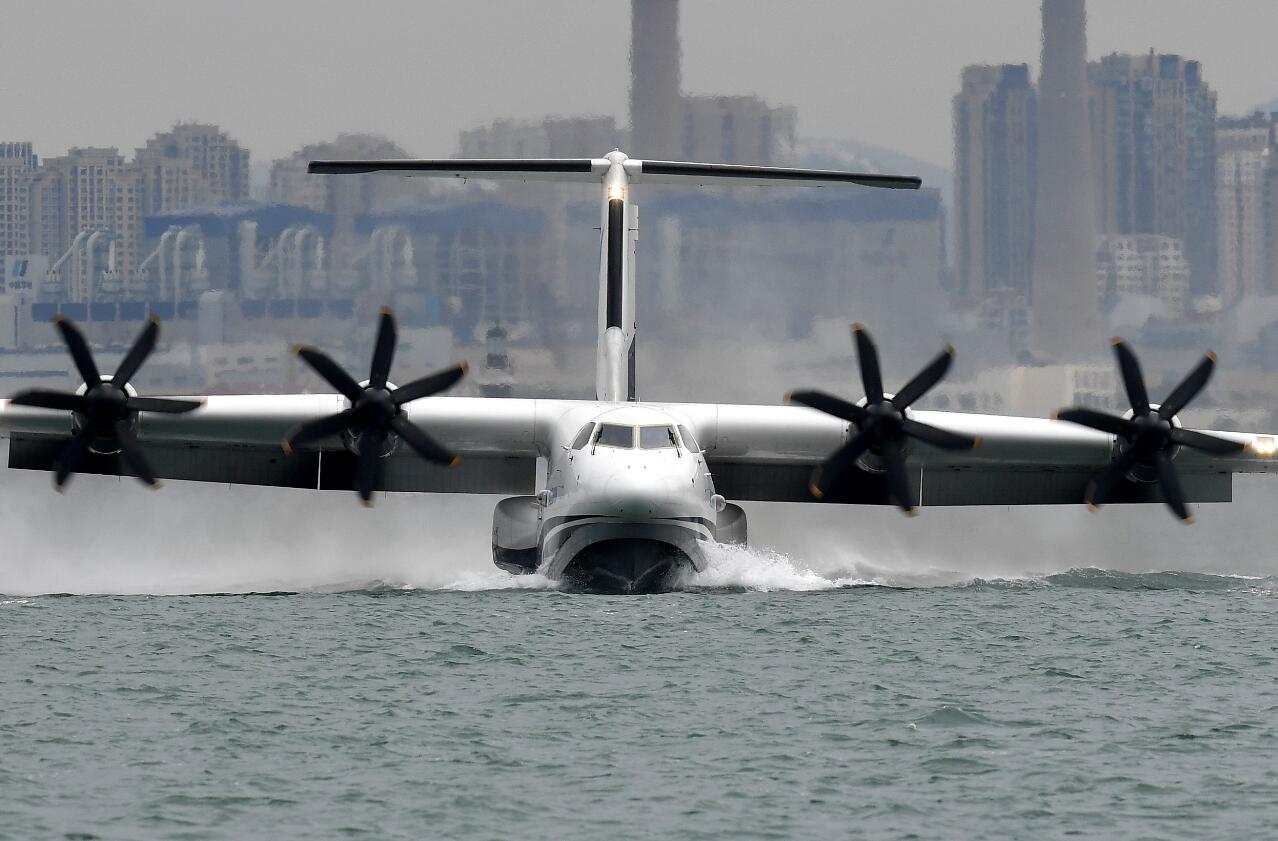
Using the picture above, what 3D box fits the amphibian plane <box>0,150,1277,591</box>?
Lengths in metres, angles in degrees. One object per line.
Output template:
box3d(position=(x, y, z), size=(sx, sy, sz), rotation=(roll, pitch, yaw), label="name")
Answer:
box3d(position=(-0.436, -0.996, 43.469), size=(19.932, 7.249, 5.946), rotation=(2, 14, 7), label="amphibian plane")
